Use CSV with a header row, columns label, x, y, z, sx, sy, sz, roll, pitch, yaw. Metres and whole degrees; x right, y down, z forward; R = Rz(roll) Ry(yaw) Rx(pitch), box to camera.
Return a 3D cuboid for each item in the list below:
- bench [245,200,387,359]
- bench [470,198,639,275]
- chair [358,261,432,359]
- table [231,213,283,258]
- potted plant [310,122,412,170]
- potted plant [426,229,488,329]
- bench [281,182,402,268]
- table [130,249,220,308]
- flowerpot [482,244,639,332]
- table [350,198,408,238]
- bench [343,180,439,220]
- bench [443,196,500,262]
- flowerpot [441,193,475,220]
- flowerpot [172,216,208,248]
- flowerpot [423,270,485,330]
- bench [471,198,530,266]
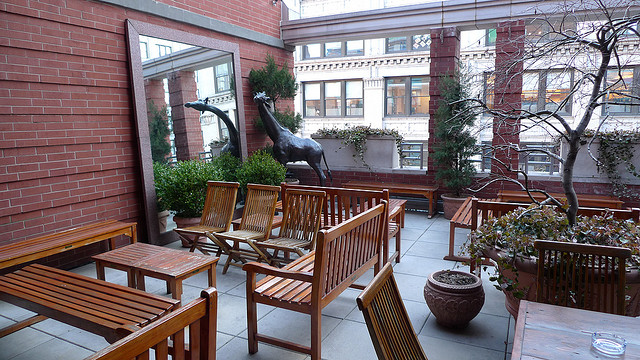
label,x,y,z,sx,sy,sz,roll,pitch,yaw
bench,-0.047,1.446,5.602,0.926,1.262,2.055,4,7,24
bench,3.078,0.767,5.275,1.387,0.661,0.428,1,11,21
chair,0.719,1.447,4.079,0.687,1.040,0.381,-13,16,-43
table,-1.203,1.007,7.535,0.861,0.751,0.816,0,5,1
potted plant,1.206,-0.672,11.302,2.453,1.137,1.316,1,3,21
potted plant,2.200,1.328,5.946,0.706,1.419,1.454,9,15,43
bench,0.410,0.755,7.266,2.029,1.207,0.804,1,5,22
table,-2.194,1.510,6.004,0.917,0.596,0.853,4,10,24
flowerpot,3.166,1.295,5.171,1.401,0.767,1.325,3,-3,-12
table,1.366,0.706,8.552,0.826,0.391,1.123,1,5,19
bench,1.788,0.463,10.245,2.250,0.691,1.183,3,7,19
bench,2.751,0.874,7.282,0.379,1.273,0.309,14,43,5
flowerpot,3.313,0.616,9.626,0.698,0.468,0.680,2,6,22
flowerpot,-2.679,1.054,8.333,0.738,0.571,0.698,0,-2,-5
flowerpot,1.873,1.725,5.785,0.807,0.563,0.779,0,0,-13
bench,2.653,0.824,6.349,1.129,0.752,1.134,1,4,33
